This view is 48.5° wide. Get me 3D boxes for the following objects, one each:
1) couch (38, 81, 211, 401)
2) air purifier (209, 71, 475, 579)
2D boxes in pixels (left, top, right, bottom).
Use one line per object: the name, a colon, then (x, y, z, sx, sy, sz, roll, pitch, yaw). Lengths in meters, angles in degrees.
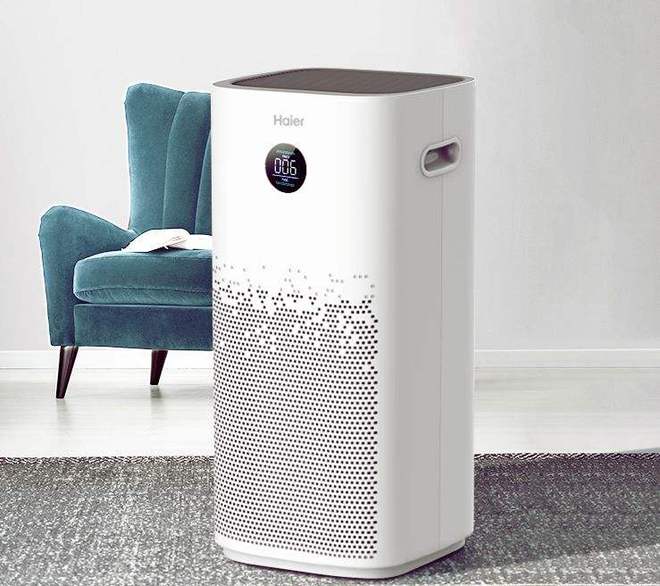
couch: (-0.692, -0.224, 2.683, 0.619, 1.184, 0.632, 0, 4, 2)
air purifier: (0.017, 0.061, 1.252, 0.465, 0.834, 0.231, 0, 4, 6)
